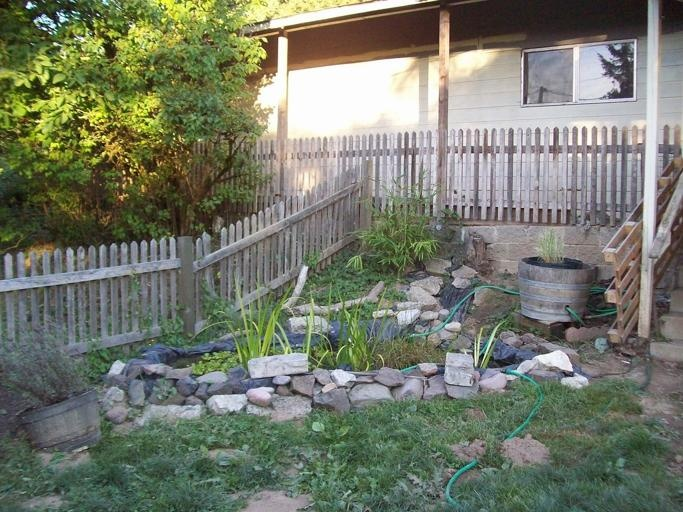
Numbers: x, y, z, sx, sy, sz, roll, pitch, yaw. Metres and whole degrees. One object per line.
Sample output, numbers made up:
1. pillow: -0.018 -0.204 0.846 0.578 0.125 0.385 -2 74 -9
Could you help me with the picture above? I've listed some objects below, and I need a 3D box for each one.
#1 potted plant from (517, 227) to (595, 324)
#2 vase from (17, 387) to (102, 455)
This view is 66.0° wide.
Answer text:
1. potted plant: 3.029 0.245 7.377 0.861 1.229 1.182 -1 10 -8
2. vase: -2.590 1.604 4.967 0.680 0.483 0.605 -14 -8 -33
